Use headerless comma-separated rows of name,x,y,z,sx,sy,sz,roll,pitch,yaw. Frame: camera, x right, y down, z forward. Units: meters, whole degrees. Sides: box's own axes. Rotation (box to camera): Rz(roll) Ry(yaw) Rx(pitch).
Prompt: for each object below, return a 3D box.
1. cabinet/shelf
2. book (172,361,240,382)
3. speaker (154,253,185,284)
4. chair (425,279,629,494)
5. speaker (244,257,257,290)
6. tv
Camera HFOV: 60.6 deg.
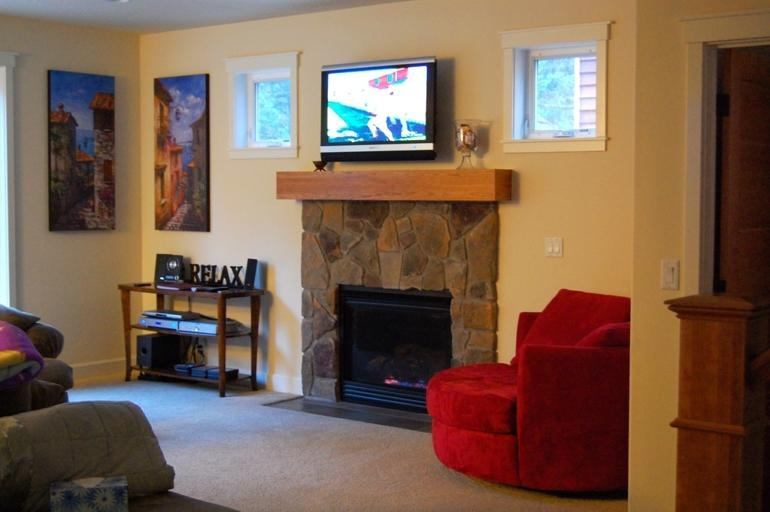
cabinet/shelf,-1.922,0.774,6.504,1.456,1.027,0.564,0,-1,31
book,-1.704,1.088,6.283,0.645,0.136,0.283,2,6,20
speaker,-2.203,0.115,6.678,0.337,0.275,0.130,2,6,15
chair,0.968,0.786,4.366,1.270,0.871,1.242,1,-2,3
speaker,-1.280,0.156,6.267,0.117,0.278,0.100,-1,6,-12
tv,-0.015,-1.263,5.603,1.018,0.726,0.104,0,-2,26
